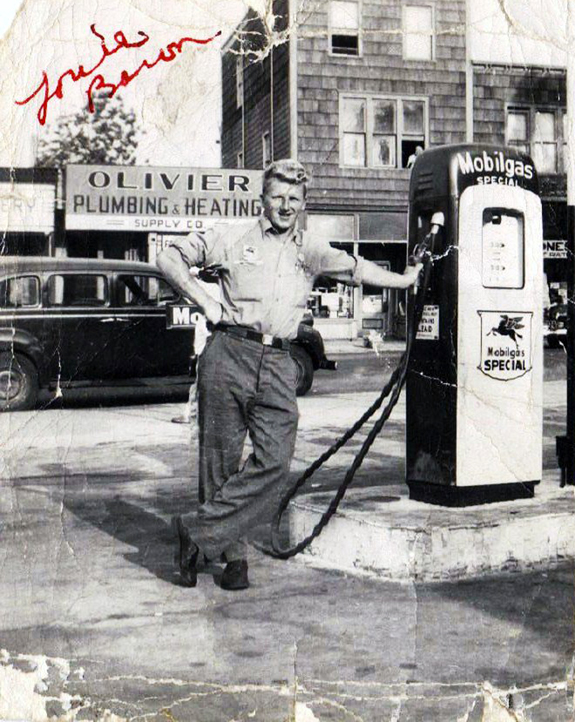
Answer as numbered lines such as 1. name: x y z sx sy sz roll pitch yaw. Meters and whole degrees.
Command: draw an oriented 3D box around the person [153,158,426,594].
1. person: 0.013 0.029 6.654 1.150 2.472 0.424 3 -3 -31
